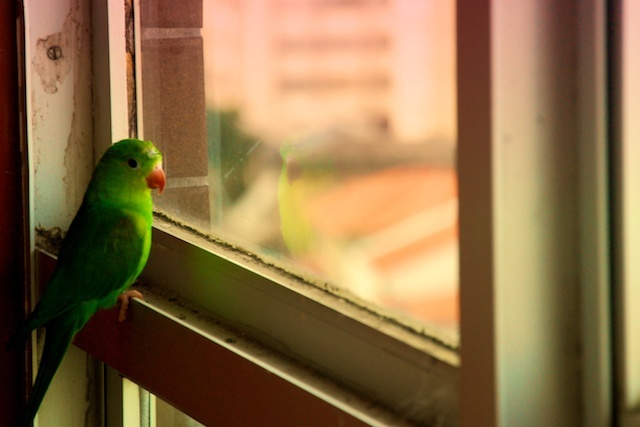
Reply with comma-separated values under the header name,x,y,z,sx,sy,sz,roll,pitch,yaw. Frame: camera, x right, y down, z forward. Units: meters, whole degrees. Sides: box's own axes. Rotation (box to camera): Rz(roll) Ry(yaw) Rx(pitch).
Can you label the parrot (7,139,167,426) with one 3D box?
name,x,y,z,sx,sy,sz,roll,pitch,yaw
parrot,-0.444,0.133,1.417,0.176,0.515,0.315,27,-42,-35
